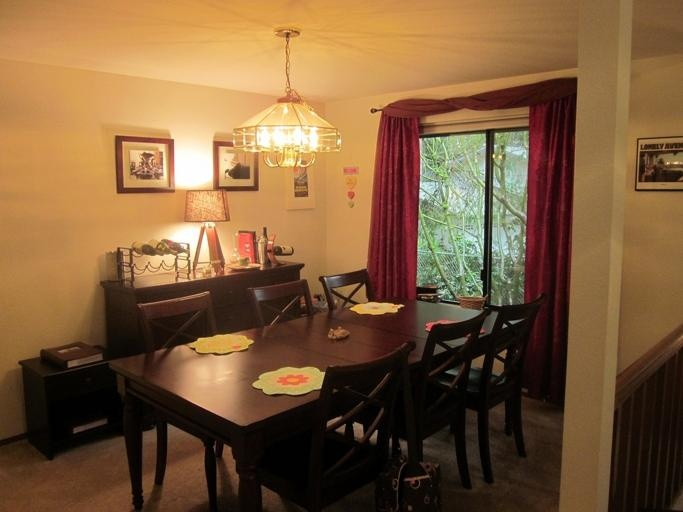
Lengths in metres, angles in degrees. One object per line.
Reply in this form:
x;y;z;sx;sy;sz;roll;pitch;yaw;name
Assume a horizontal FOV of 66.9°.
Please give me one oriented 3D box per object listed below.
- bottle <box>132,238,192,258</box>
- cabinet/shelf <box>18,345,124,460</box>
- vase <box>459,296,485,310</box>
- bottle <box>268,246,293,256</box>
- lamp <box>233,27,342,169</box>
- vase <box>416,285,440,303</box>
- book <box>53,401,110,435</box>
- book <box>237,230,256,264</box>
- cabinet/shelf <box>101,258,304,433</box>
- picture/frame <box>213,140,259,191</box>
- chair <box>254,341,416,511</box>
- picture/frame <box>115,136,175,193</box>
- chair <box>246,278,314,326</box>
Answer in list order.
-1.573;-0.067;4.424;0.443;0.137;0.220;-6;10;-21;bottle
-2.097;1.061;3.952;0.587;0.686;0.524;-10;13;-39;cabinet/shelf
1.106;0.391;4.361;0.148;0.059;0.129;-1;5;6;vase
-0.622;-0.047;5.120;0.078;0.080;0.291;-12;-8;40;bottle
-0.386;-1.107;3.670;0.780;0.929;0.770;-8;13;-40;lamp
0.847;0.382;5.097;0.146;0.186;0.198;-1;0;9;vase
-1.963;1.201;3.819;0.276;0.072;0.305;1;1;44;book
-0.910;-0.070;4.896;0.301;0.390;0.051;0;4;36;book
-0.991;0.589;3.403;0.467;0.812;1.250;7;12;41;cabinet/shelf
-1.033;-0.854;4.870;0.519;0.546;0.036;-6;3;-43;picture/frame
-0.029;0.813;2.640;0.761;0.752;0.637;-8;12;-31;chair
-1.744;-0.800;4.478;0.499;0.479;0.040;-9;13;-43;picture/frame
-0.525;0.378;4.152;0.326;0.573;0.321;-9;14;-33;chair
